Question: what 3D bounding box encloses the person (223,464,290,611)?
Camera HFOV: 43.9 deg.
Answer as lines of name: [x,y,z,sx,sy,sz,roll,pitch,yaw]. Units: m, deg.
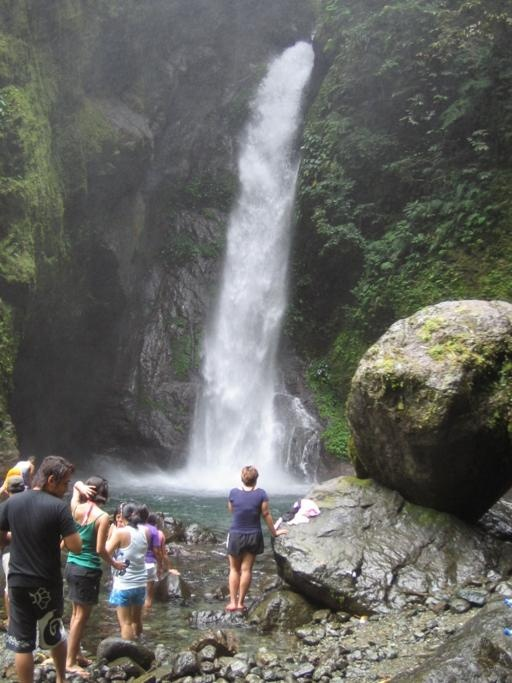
person: [-0.071,2.106,6.730,0.487,1.653,0.435,4,6,0]
